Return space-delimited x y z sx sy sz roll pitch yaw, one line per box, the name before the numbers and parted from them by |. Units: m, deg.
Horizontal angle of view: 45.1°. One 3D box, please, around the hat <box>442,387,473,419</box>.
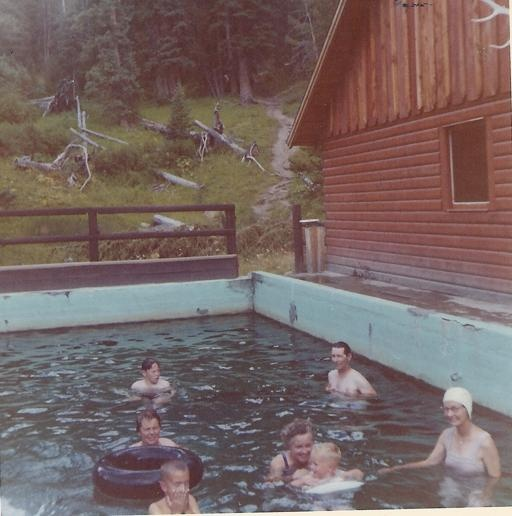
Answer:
hat | 1.685 1.140 5.103 0.203 0.345 0.290 5 1 30
